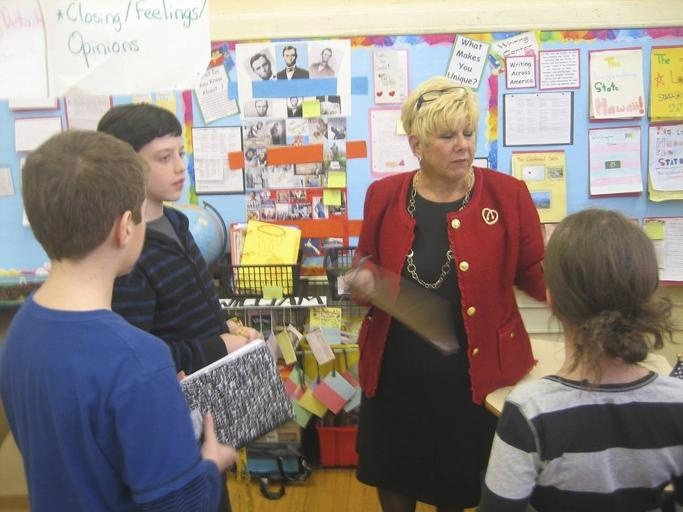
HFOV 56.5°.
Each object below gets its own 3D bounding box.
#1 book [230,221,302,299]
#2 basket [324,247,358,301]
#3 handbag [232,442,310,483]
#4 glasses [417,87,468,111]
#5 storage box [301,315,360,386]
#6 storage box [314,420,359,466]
[{"bbox_3d":[-0.333,0.015,2.857,0.300,0.194,0.310,2,1,31],"label":"book"},{"bbox_3d":[-0.021,0.060,3.011,0.159,0.259,0.242,0,-3,-4],"label":"basket"},{"bbox_3d":[-0.356,1.012,3.170,0.333,0.160,0.345,2,-5,-8],"label":"handbag"},{"bbox_3d":[0.321,-0.509,2.056,0.165,0.071,0.033,-3,7,6],"label":"glasses"},{"bbox_3d":[-0.042,0.421,2.978,0.286,0.375,0.217,-3,7,0],"label":"storage box"},{"bbox_3d":[-0.034,0.958,3.123,0.214,0.198,0.179,2,-37,-11],"label":"storage box"}]
